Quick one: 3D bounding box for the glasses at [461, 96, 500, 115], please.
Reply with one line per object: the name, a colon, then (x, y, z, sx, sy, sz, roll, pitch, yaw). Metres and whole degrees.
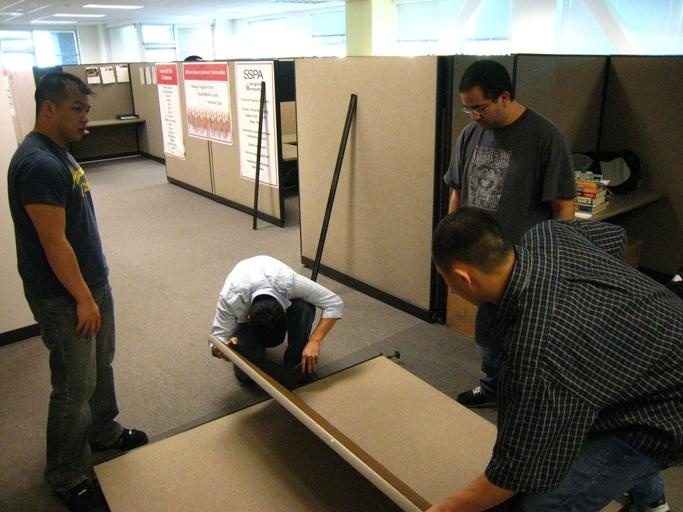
glasses: (0.668, -0.747, 2.670, 0.083, 0.086, 0.199, -21, 29, -37)

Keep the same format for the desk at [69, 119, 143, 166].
desk: (-3.841, -1.876, 8.808, 1.112, 0.682, 0.415, -16, 28, -38)

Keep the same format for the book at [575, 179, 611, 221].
book: (1.551, -0.369, 3.477, 0.253, 0.113, 0.318, -18, 31, -29)

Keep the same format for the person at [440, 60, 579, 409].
person: (0.886, -0.047, 2.960, 0.711, 2.009, 0.534, 9, 19, 41)

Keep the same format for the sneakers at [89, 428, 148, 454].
sneakers: (-1.116, 0.912, 2.625, 0.243, 0.110, 0.084, -10, 22, -15)

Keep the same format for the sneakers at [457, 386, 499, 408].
sneakers: (0.706, 0.747, 2.914, 0.266, 0.119, 0.102, 3, 16, 7)

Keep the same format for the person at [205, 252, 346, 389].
person: (-0.401, 0.432, 3.156, 0.714, 1.183, 0.684, -1, 58, -2)
